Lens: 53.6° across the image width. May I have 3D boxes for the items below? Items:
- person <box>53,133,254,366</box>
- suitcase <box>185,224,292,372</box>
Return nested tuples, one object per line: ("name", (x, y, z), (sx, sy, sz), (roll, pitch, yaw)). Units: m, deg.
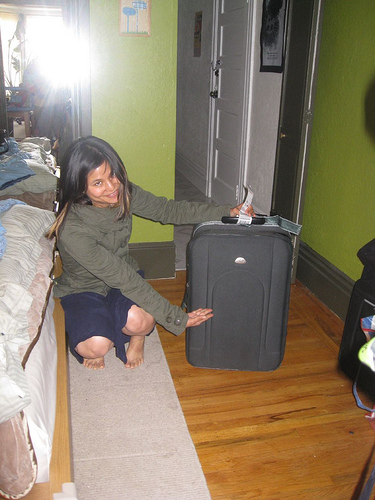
("person", (-0.196, 0.041, 1.612), (0.729, 0.999, 0.611), (-6, 16, -26))
("suitcase", (0.205, 0.180, 1.493), (0.490, 0.735, 0.252), (-5, 29, 5))
